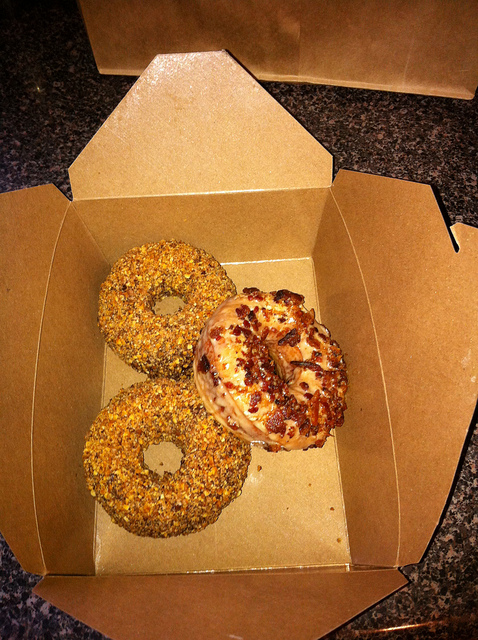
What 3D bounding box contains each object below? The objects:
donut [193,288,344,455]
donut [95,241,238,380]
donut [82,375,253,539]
[{"bbox_3d":[0.048,0.077,1.006,0.236,0.148,0.242,1,63,2],"label":"donut"},{"bbox_3d":[-0.125,-0.026,1.096,0.226,0.087,0.234,-27,75,-21],"label":"donut"},{"bbox_3d":[-0.126,0.219,1.101,0.224,0.100,0.281,-3,83,-1],"label":"donut"}]
